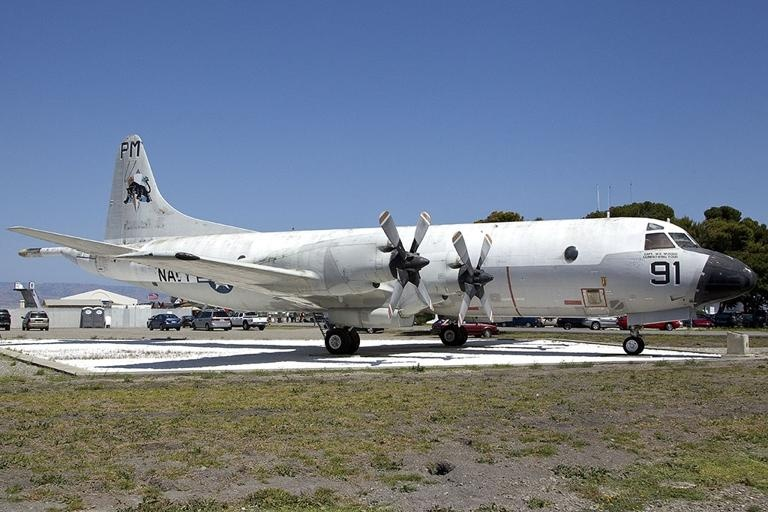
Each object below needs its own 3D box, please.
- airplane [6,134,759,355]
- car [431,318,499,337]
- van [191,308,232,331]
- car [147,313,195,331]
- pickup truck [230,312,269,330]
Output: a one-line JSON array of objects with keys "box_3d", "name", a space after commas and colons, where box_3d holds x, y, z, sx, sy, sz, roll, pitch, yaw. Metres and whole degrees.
[{"box_3d": [0.492, 0.428, 24.262, 18.131, 4.149, 16.816, 0, 0, 16], "name": "airplane"}, {"box_3d": [4.316, 4.198, 36.303, 3.835, 0.965, 1.880, -1, -2, 7], "name": "car"}, {"box_3d": [-12.311, 4.600, 47.623, 1.592, 0.900, 2.704, 2, 0, -37], "name": "van"}, {"box_3d": [-15.410, 4.665, 47.054, 2.194, 0.907, 3.806, 1, 1, -26], "name": "car"}, {"box_3d": [-10.913, 4.926, 50.800, 2.117, 0.998, 3.696, 3, 0, -42], "name": "pickup truck"}]
